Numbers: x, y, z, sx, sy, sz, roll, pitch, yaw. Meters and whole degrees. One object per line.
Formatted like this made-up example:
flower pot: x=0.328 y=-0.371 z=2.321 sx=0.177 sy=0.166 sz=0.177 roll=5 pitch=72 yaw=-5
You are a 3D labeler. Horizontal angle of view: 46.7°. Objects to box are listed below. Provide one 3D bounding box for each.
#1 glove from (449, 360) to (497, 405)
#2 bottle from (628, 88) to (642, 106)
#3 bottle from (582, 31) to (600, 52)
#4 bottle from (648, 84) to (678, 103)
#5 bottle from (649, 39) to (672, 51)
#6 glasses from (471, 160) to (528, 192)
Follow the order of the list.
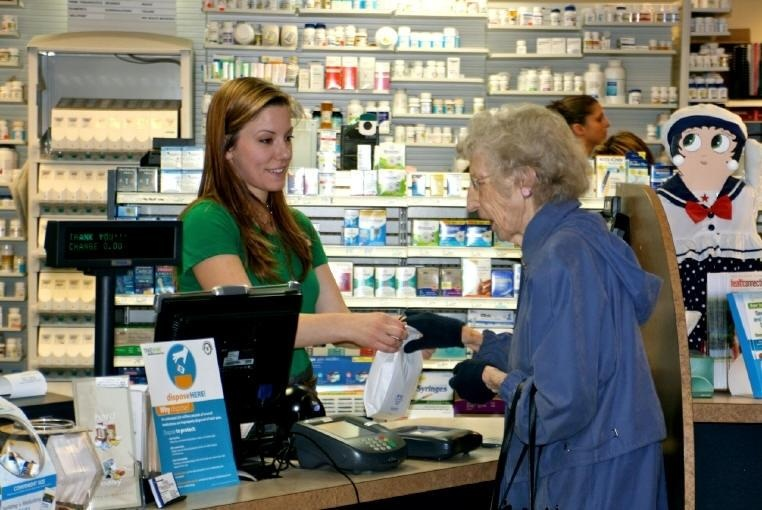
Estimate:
glove: x=0.400 y=0.581 z=3.995 sx=0.098 sy=0.169 sz=0.210 roll=-11 pitch=15 yaw=-33
bottle: x=2.490 y=-1.542 z=8.663 sx=0.157 sy=0.164 sz=0.160 roll=0 pitch=1 yaw=27
bottle: x=2.029 y=-2.070 z=8.633 sx=0.188 sy=0.178 sz=0.184 roll=0 pitch=-2 yaw=-2
bottle: x=2.754 y=-1.557 z=8.652 sx=0.182 sy=0.135 sz=0.202 roll=-1 pitch=-2 yaw=37
bottle: x=2.765 y=-2.068 z=8.755 sx=0.132 sy=0.075 sz=0.182 roll=0 pitch=3 yaw=-2
glasses: x=0.525 y=-0.340 z=3.861 sx=0.187 sy=0.083 sz=0.145 roll=3 pitch=5 yaw=14
